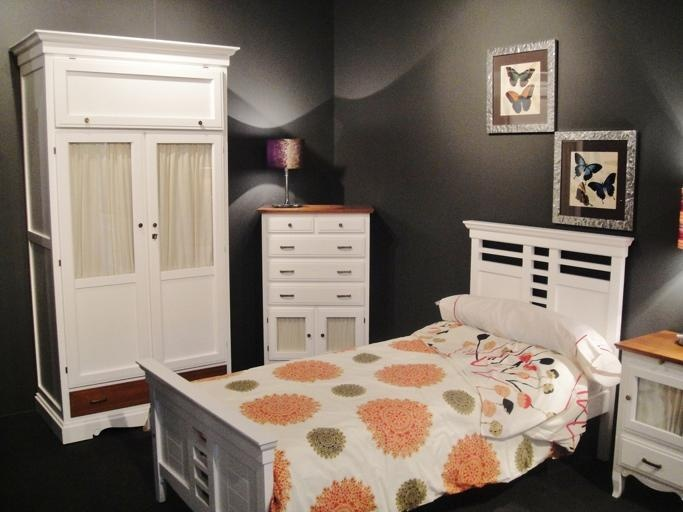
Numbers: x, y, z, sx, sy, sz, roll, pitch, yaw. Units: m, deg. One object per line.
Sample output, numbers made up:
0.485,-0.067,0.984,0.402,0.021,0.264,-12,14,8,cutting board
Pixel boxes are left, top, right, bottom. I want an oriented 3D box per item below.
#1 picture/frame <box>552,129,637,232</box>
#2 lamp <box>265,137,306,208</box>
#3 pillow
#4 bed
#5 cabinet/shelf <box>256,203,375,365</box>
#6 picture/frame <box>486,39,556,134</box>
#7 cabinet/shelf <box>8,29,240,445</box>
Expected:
1.661,-0.493,3.338,0.033,0.752,0.644,-8,10,-40,picture/frame
-0.522,-0.740,4.624,0.309,0.606,0.492,-1,14,-8,lamp
1.149,0.443,3.383,1.156,0.286,0.266,15,22,34,pillow
0.744,0.418,4.061,2.477,1.546,1.823,-5,9,-27,bed
-0.230,0.296,4.767,1.008,1.593,0.603,0,17,-1,cabinet/shelf
1.276,-1.179,3.676,0.069,0.616,0.576,-10,18,-38,picture/frame
-1.481,-0.130,3.805,1.343,2.781,0.423,-8,17,-33,cabinet/shelf
